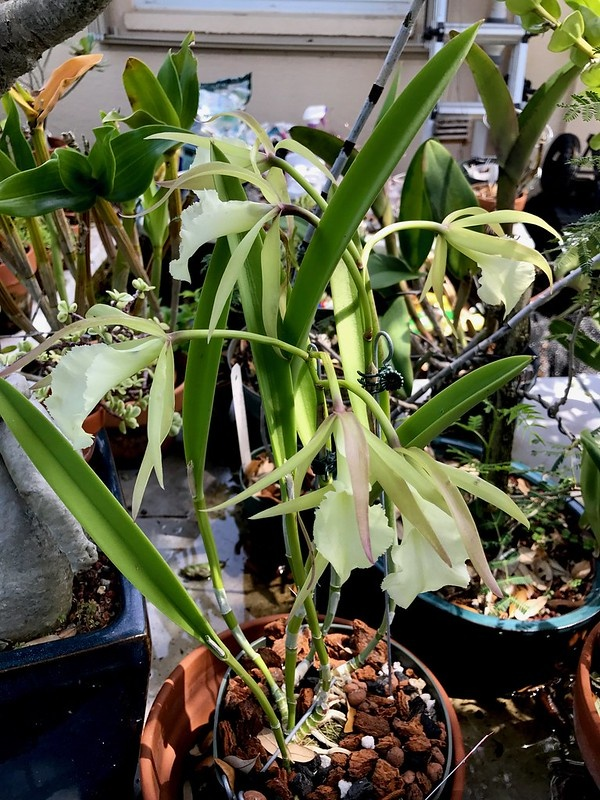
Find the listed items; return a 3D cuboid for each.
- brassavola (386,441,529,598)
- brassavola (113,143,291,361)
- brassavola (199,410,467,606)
[{"bbox_3d":[0.112,0.069,0.495,0.143,0.066,0.037,47,49,11],"label":"brassavola"},{"bbox_3d":[-0.056,-0.123,0.494,0.109,0.115,0.099,-4,21,-23],"label":"brassavola"},{"bbox_3d":[0.056,0.049,0.496,0.156,0.144,0.087,2,23,17],"label":"brassavola"}]
